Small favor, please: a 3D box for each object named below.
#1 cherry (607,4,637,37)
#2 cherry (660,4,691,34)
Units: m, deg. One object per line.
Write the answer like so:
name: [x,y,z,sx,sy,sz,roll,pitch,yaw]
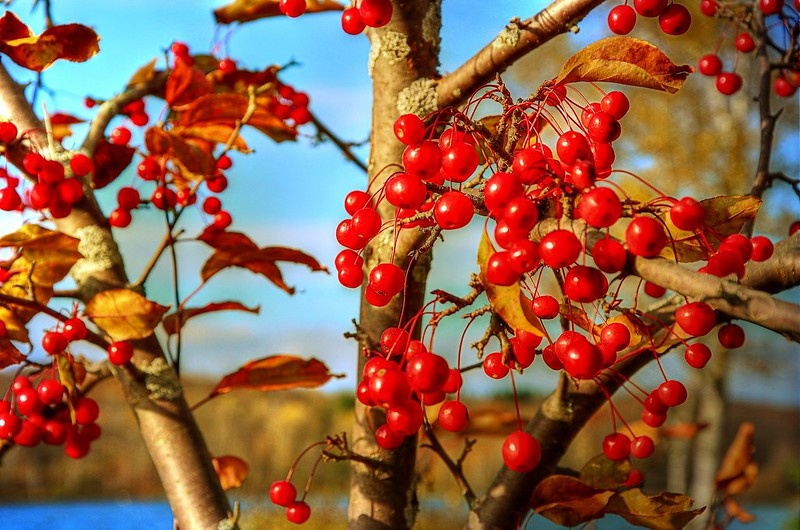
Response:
cherry: [0.666,-0.725,3.731,0.082,0.102,0.086,27,8,10]
cherry: [0.824,-0.727,3.686,0.086,0.110,0.090,-7,-18,13]
